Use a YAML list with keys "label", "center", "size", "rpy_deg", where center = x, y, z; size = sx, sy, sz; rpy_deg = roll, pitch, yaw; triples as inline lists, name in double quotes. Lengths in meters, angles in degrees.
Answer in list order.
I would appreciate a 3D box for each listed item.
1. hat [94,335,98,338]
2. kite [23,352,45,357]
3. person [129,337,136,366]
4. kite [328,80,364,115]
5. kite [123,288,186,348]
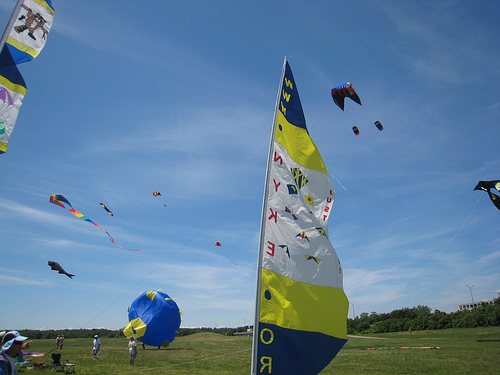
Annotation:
- label: "hat"
  center: [-11.579, 11.190, 27.182]
  size: [0.297, 0.072, 0.299]
  rpy_deg: [-4, -10, 22]
- label: "kite"
  center: [-15.380, 11.760, 25.567]
  size: [1.057, 0.323, 3.910]
  rpy_deg: [15, -31, -27]
- label: "person"
  center: [-7.978, 11.078, 24.503]
  size: [0.515, 1.596, 1.319]
  rpy_deg: [8, -28, -14]
- label: "kite"
  center: [5.803, -5.404, 21.708]
  size: [1.779, 2.110, 0.515]
  rpy_deg: [28, -14, 18]
- label: "kite"
  center: [-8.351, 12.096, 33.655]
  size: [3.768, 3.907, 3.619]
  rpy_deg: [1, -8, 1]
